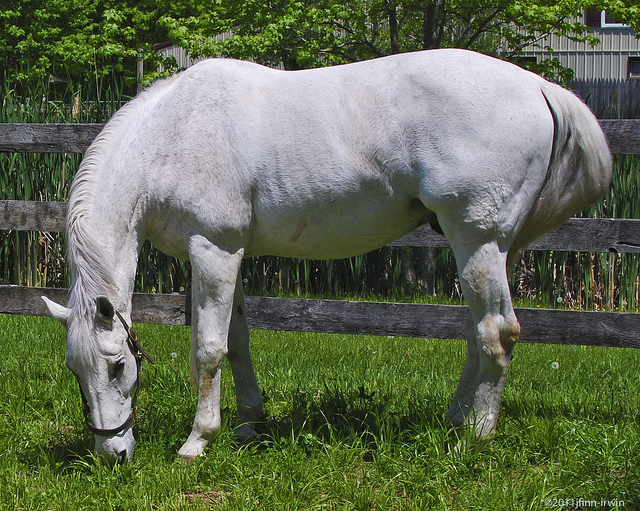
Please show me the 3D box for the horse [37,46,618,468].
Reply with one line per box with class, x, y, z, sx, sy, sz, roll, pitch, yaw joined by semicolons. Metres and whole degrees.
horse;0.027;0.034;6.220;3.562;2.684;1.137;-1;3;6
